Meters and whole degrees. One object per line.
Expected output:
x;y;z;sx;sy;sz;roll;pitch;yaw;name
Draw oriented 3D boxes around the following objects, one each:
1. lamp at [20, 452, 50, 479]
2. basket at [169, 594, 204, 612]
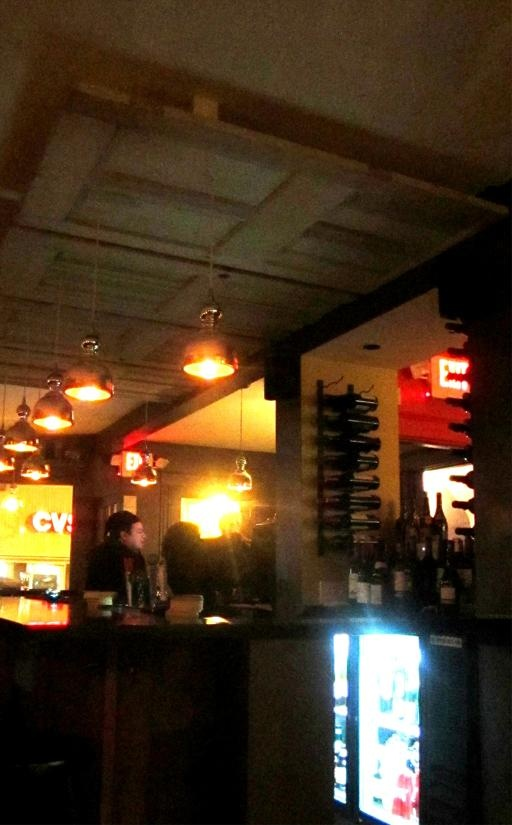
-2.178;0.545;7.407;0.213;0.260;0.340;5;4;-8;lamp
-0.276;0.765;2.997;0.142;0.078;0.087;4;4;-21;basket
